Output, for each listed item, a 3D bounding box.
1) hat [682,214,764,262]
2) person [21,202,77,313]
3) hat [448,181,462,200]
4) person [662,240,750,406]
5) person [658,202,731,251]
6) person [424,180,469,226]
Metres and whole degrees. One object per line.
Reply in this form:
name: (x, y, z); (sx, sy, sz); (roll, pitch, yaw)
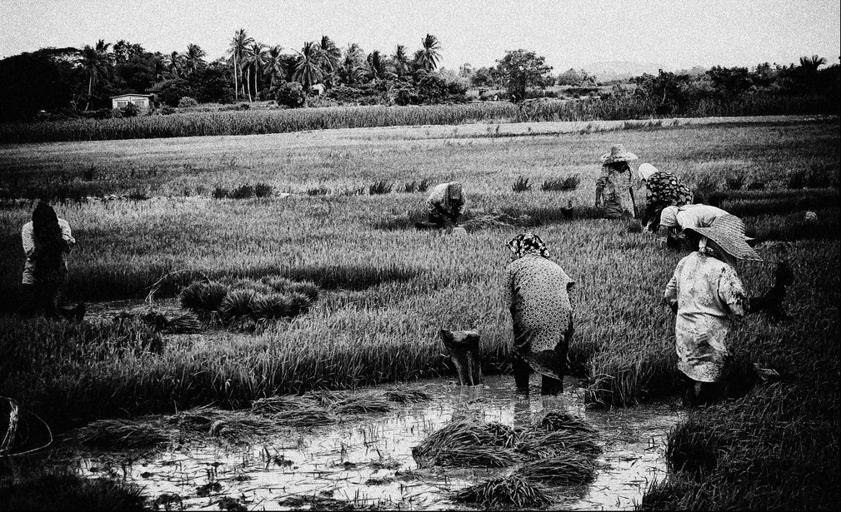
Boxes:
hat: (3.862, -0.171, 11.923); (0.650, 0.191, 0.722); (5, 42, -29)
person: (-5.425, 0.028, 13.672); (0.672, 1.526, 0.725); (0, 10, -1)
hat: (0.571, -1.076, 15.564); (0.261, 0.277, 0.205); (2, 9, 21)
person: (3.608, 0.839, 12.038); (1.040, 2.172, 0.455); (4, 10, 23)
person: (3.679, -0.393, 12.233); (1.186, 0.440, 0.799); (0, -2, 34)
person: (0.395, -0.942, 15.802); (0.590, 0.808, 0.757); (-9, 23, -32)
